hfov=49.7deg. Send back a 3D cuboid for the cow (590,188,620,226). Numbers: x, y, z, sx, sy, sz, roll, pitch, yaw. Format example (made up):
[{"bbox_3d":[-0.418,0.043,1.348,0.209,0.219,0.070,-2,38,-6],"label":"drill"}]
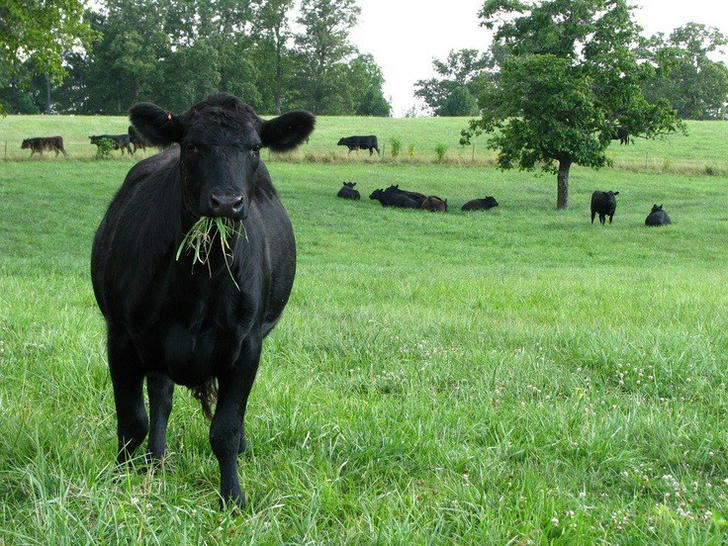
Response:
[{"bbox_3d":[10.005,-2.756,33.029,0.906,1.348,2.550,3,7,14],"label":"cow"}]

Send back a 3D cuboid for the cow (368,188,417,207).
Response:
[{"bbox_3d":[1.312,-3.344,35.484,1.108,0.778,2.455,-4,9,-41],"label":"cow"}]

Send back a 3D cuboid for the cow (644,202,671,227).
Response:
[{"bbox_3d":[11.699,-2.332,31.414,0.580,0.915,1.677,4,14,16],"label":"cow"}]

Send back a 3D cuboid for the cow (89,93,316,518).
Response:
[{"bbox_3d":[-1.571,0.208,7.648,1.902,3.810,1.519,3,7,11],"label":"cow"}]

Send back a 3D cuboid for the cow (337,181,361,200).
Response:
[{"bbox_3d":[-0.717,-3.949,37.019,0.551,0.820,1.583,2,16,-6],"label":"cow"}]

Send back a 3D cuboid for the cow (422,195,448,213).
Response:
[{"bbox_3d":[3.166,-3.042,34.834,0.504,0.835,1.444,-6,14,-36],"label":"cow"}]

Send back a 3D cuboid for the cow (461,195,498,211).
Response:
[{"bbox_3d":[5.306,-3.209,36.426,1.364,0.823,0.440,-14,26,-14],"label":"cow"}]
